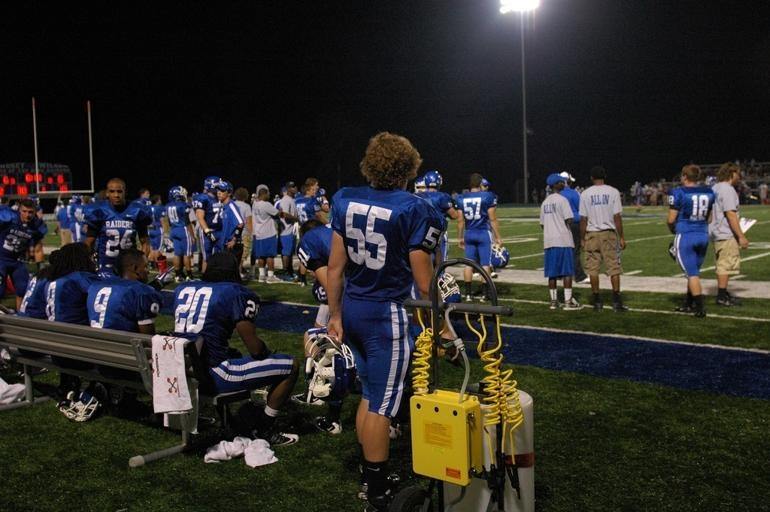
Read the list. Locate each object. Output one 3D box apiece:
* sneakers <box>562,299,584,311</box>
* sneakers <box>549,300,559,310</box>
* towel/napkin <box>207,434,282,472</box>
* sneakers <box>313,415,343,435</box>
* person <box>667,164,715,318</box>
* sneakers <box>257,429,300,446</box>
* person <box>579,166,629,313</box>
[{"bbox_3d":[3.013,0.766,10.195,0.354,0.217,0.152,-3,6,-4],"label":"sneakers"},{"bbox_3d":[2.700,0.784,10.245,0.132,0.148,0.156,-1,6,28],"label":"sneakers"},{"bbox_3d":[-1.311,1.803,5.913,0.354,0.129,0.330,0,-2,-35],"label":"towel/napkin"},{"bbox_3d":[-0.557,1.659,6.388,0.289,0.121,0.122,10,10,26],"label":"sneakers"},{"bbox_3d":[4.561,-0.263,9.590,0.638,2.253,0.904,-1,2,26],"label":"person"},{"bbox_3d":[-0.988,1.723,6.152,0.426,0.195,0.142,-1,9,-7],"label":"sneakers"},{"bbox_3d":[3.419,-0.275,10.139,0.641,2.226,0.727,-1,2,17],"label":"person"}]
